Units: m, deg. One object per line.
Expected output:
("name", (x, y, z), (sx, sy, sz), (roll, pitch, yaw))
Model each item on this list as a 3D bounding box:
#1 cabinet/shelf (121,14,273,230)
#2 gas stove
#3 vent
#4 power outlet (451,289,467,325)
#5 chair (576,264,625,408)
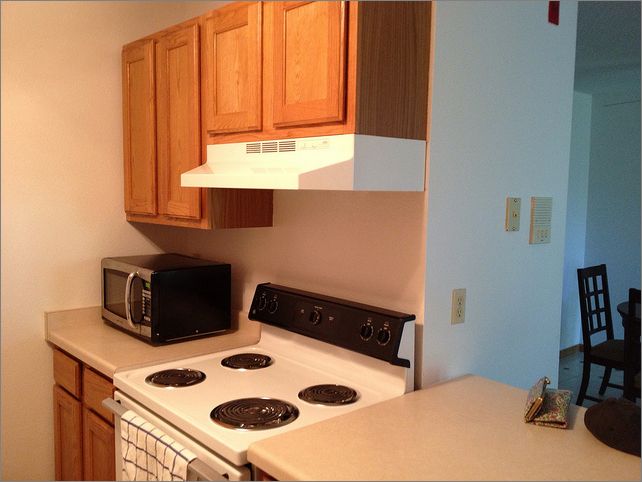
("cabinet/shelf", (-0.552, -0.534, 2.221), (0.358, 1.073, 1.031), (-2, 3, -36))
("gas stove", (-0.310, 0.621, 2.037), (0.943, 0.144, 0.837), (2, 0, 40))
("vent", (-0.096, -0.285, 1.858), (0.911, 0.214, 0.500), (4, 11, 25))
("power outlet", (0.562, 0.266, 1.989), (0.080, 0.149, 0.016), (-8, 12, -38))
("chair", (2.459, 0.811, 4.269), (0.533, 1.207, 0.545), (-1, 3, -43))
